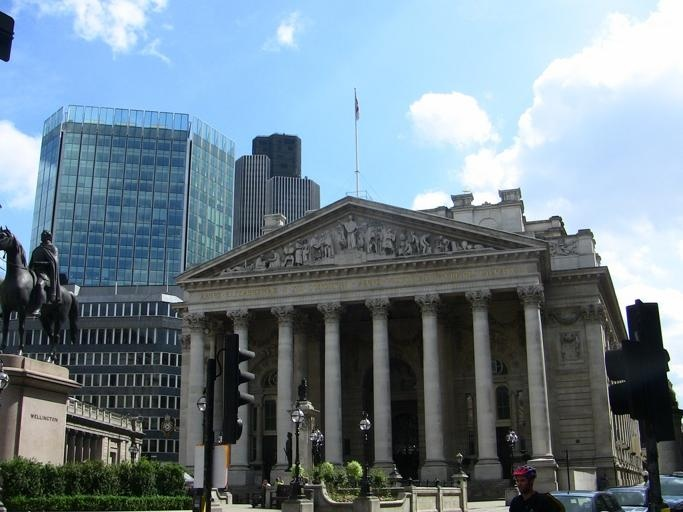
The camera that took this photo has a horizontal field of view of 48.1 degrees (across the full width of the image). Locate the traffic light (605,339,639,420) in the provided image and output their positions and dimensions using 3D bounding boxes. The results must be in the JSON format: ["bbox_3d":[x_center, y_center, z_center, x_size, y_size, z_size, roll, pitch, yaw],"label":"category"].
[{"bbox_3d":[5.291,2.355,14.501,0.477,1.467,0.737,-2,-18,-1],"label":"traffic light"}]

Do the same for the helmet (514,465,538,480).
[{"bbox_3d":[3.700,4.373,15.385,0.383,0.176,0.267,15,-21,-26],"label":"helmet"}]

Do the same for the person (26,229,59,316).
[{"bbox_3d":[-12.960,0.551,33.482,1.040,3.927,1.560,-5,-18,9],"label":"person"}]
